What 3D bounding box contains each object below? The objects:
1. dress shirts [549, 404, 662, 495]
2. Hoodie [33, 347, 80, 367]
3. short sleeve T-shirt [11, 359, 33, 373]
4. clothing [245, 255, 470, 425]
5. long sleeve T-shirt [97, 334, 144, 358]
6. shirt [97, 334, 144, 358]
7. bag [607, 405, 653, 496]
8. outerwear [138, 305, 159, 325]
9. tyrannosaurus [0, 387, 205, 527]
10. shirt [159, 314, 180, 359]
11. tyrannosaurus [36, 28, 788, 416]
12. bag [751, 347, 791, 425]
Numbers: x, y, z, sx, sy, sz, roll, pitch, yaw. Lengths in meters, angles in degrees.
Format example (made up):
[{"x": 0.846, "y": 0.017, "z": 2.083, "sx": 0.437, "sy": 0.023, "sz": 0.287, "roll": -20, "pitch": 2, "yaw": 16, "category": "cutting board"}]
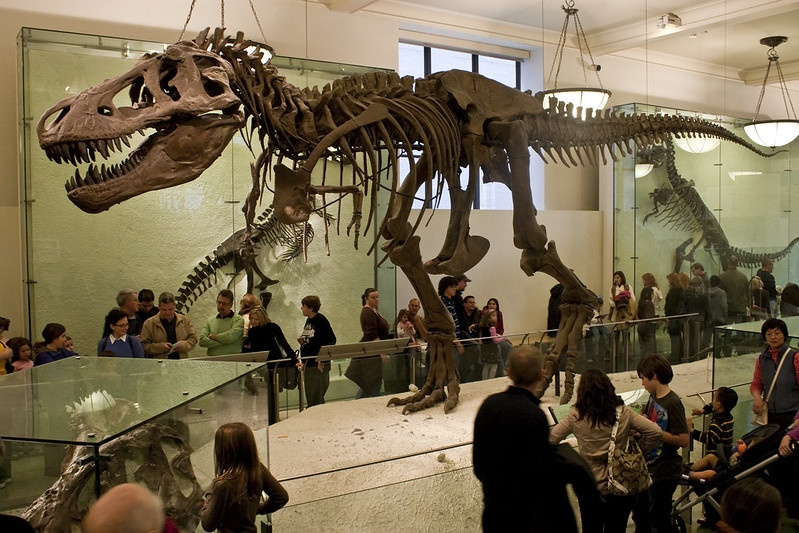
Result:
[{"x": 1.612, "y": 1.435, "z": 4.810, "sx": 0.909, "sy": 0.742, "sz": 0.636, "roll": 2, "pitch": -5, "yaw": 11, "category": "dress shirts"}, {"x": -3.422, "y": 0.888, "z": 5.949, "sx": 0.448, "sy": 0.155, "sz": 0.344, "roll": 2, "pitch": 6, "yaw": 8, "category": "Hoodie"}, {"x": -4.052, "y": 1.057, "z": 6.446, "sx": 0.193, "sy": 0.117, "sz": 0.329, "roll": -6, "pitch": 16, "yaw": -31, "category": "short sleeve T-shirt"}, {"x": -0.402, "y": 0.693, "z": 7.166, "sx": 2.063, "sy": 1.212, "sz": 1.982, "roll": 0, "pitch": -1, "yaw": -31, "category": "clothing"}, {"x": -3.057, "y": 0.866, "z": 6.574, "sx": 0.332, "sy": 0.288, "sz": 0.175, "roll": -2, "pitch": 4, "yaw": -17, "category": "long sleeve T-shirt"}, {"x": -3.057, "y": 0.866, "z": 6.574, "sx": 0.332, "sy": 0.288, "sz": 0.175, "roll": -2, "pitch": 4, "yaw": -17, "category": "shirt"}, {"x": 1.746, "y": 1.424, "z": 4.599, "sx": 0.355, "sy": 0.641, "sz": 0.266, "roll": -11, "pitch": 19, "yaw": -42, "category": "bag"}, {"x": -3.362, "y": 0.621, "z": 7.983, "sx": 0.207, "sy": 0.261, "sz": 0.118, "roll": -1, "pitch": 8, "yaw": -11, "category": "outerwear"}, {"x": -1.721, "y": 1.234, "z": 3.875, "sx": 0.708, "sy": 0.451, "sz": 0.950, "roll": 2, "pitch": 6, "yaw": -1, "category": "tyrannosaurus"}, {"x": -2.790, "y": 0.852, "z": 7.288, "sx": 0.284, "sy": 0.464, "sz": 0.121, "roll": -2, "pitch": -3, "yaw": -22, "category": "shirt"}, {"x": 0.471, "y": -0.493, "z": 6.894, "sx": 8.083, "sy": 3.327, "sz": 1.689, "roll": 4, "pitch": 5, "yaw": -11, "category": "tyrannosaurus"}, {"x": 3.422, "y": 1.153, "z": 5.780, "sx": 0.192, "sy": 0.667, "sz": 0.396, "roll": 9, "pitch": 24, "yaw": 13, "category": "bag"}]
